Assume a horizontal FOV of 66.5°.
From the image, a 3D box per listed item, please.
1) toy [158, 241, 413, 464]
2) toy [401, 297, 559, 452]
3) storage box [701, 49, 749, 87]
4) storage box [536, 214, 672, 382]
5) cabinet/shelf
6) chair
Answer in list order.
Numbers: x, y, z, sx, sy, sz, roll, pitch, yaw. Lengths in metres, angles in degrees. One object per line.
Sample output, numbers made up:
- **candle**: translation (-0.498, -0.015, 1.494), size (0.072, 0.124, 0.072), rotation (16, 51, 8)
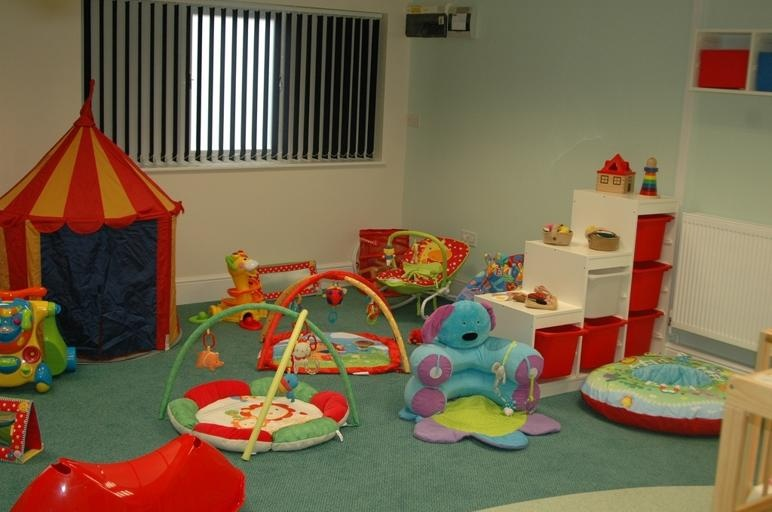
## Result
- **toy**: translation (-0.811, 0.739, 3.762), size (1.249, 0.831, 0.768), rotation (-1, 15, -4)
- **toy**: translation (0.566, 0.815, 4.003), size (0.968, 0.645, 0.961), rotation (-3, 10, -20)
- **storage box**: translation (2.391, -1.324, 4.148), size (0.285, 0.238, 0.146), rotation (10, 10, 44)
- **storage box**: translation (1.613, 0.310, 4.426), size (1.160, 0.975, 0.375), rotation (-8, 23, -23)
- **cabinet/shelf**: translation (1.493, 0.339, 4.444), size (1.461, 1.414, 0.738), rotation (-8, 17, -30)
- **chair**: translation (0.263, 0.081, 5.749), size (0.770, 0.738, 1.047), rotation (11, 23, 37)
